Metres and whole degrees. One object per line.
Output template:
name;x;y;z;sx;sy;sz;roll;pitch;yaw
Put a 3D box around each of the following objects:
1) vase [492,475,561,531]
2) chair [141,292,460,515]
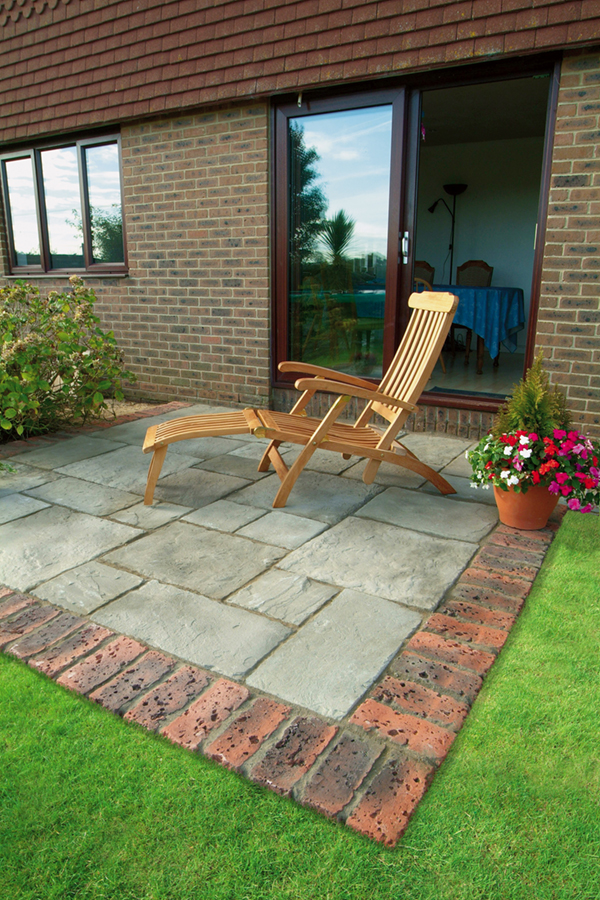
vase;0.974;0.224;2.637;0.224;0.152;0.225;0;4;-5
chair;-0.026;-0.277;3.159;1.580;1.014;0.650;-2;13;-11
